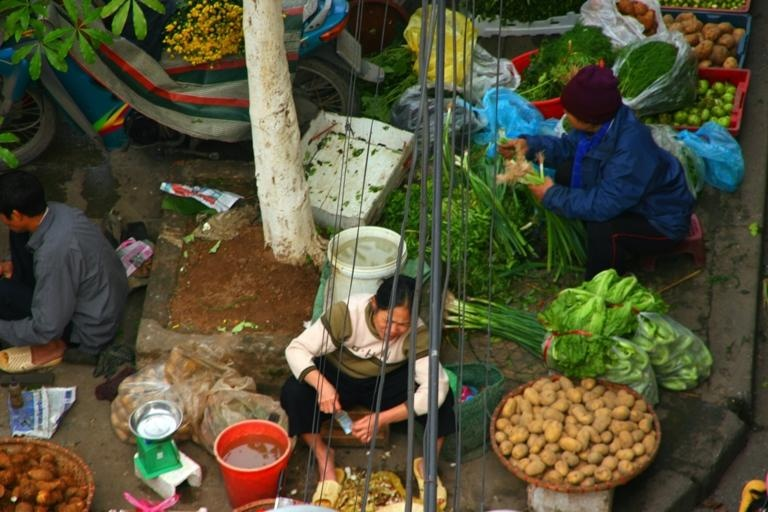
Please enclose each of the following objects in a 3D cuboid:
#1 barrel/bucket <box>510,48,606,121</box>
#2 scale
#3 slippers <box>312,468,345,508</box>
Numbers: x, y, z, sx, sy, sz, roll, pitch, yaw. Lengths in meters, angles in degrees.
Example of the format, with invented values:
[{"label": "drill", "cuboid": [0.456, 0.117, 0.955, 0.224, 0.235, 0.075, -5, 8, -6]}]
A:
[{"label": "barrel/bucket", "cuboid": [1.689, -1.831, 7.144, 0.743, 0.892, 0.495, 0, 0, 1]}, {"label": "scale", "cuboid": [-1.705, 1.394, 5.081, 0.363, 0.422, 0.417, -10, 40, -24]}, {"label": "slippers", "cuboid": [-0.392, 1.686, 4.872, 0.129, 0.105, 0.378, 12, 26, 6]}]
